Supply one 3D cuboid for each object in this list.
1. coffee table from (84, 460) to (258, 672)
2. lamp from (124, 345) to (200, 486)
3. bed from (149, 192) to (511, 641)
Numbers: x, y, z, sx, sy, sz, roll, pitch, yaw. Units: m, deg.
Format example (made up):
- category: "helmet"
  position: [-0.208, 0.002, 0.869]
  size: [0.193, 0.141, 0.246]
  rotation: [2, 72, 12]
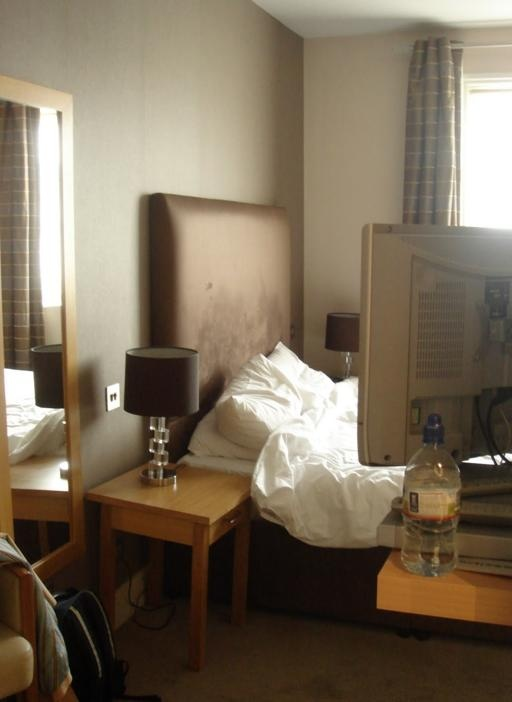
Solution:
- category: "coffee table"
  position: [-0.243, 0.683, 2.420]
  size: [0.545, 0.756, 0.555]
  rotation: [4, 8, 23]
- category: "lamp"
  position: [-0.341, 0.233, 2.270]
  size: [0.252, 0.475, 0.357]
  rotation: [0, 4, -9]
- category: "bed"
  position: [0.336, 0.040, 3.235]
  size: [1.385, 2.116, 2.110]
  rotation: [1, 6, 12]
